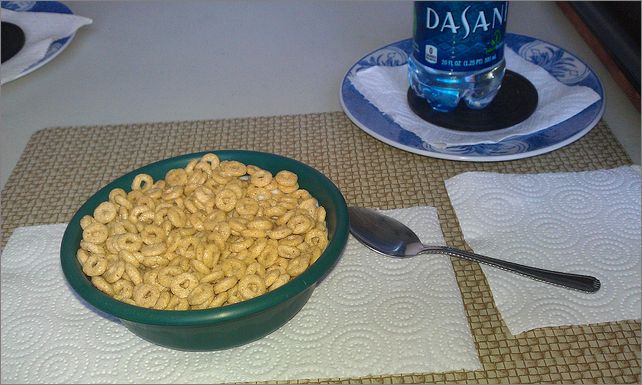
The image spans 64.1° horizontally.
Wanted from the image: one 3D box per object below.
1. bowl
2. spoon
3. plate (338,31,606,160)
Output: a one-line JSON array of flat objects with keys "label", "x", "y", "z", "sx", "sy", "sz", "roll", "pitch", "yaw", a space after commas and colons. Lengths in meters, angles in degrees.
[{"label": "bowl", "x": -0.193, "y": 0.071, "z": 0.894, "sx": 0.423, "sy": 0.122, "sz": 0.406, "roll": -1, "pitch": 61, "yaw": 2}, {"label": "spoon", "x": 0.275, "y": 0.108, "z": 0.913, "sx": 0.430, "sy": 0.054, "sz": 0.073, "roll": 11, "pitch": 62, "yaw": 12}, {"label": "plate", "x": 0.311, "y": -0.274, "z": 1.139, "sx": 0.558, "sy": 0.048, "sz": 0.512, "roll": -18, "pitch": 43, "yaw": -15}]
